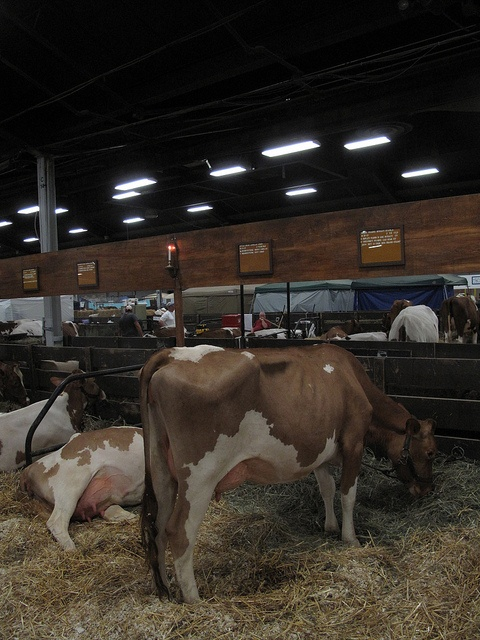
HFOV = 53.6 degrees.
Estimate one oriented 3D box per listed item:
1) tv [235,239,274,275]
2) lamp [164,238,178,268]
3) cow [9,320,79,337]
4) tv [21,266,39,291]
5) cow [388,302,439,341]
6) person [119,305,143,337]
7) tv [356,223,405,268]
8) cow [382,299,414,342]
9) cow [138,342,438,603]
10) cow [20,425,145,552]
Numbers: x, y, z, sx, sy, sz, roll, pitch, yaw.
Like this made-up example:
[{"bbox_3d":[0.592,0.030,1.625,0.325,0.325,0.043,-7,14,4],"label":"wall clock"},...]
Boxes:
[{"bbox_3d":[0.118,-0.467,3.514,0.269,0.242,0.029,-4,-4,36],"label":"tv"},{"bbox_3d":[-0.555,-0.551,3.879,0.089,0.218,0.226,-3,1,-8],"label":"lamp"},{"bbox_3d":[-4.262,0.189,10.284,1.053,0.548,0.305,-3,4,-8],"label":"cow"},{"bbox_3d":[-2.354,-0.472,5.323,0.271,0.270,0.027,7,9,36],"label":"tv"},{"bbox_3d":[2.665,0.115,7.269,0.516,0.737,0.739,1,-24,21],"label":"cow"},{"bbox_3d":[-2.395,-0.002,10.198,0.424,0.630,1.214,-3,1,-15],"label":"person"},{"bbox_3d":[0.904,-0.471,3.043,0.276,0.257,0.024,-2,-9,15],"label":"tv"},{"bbox_3d":[2.919,-0.053,8.994,0.652,0.845,0.309,2,4,-12],"label":"cow"},{"bbox_3d":[0.442,0.759,2.785,2.060,1.238,0.535,0,3,-31],"label":"cow"},{"bbox_3d":[-0.997,1.086,3.186,0.782,0.745,0.660,-3,1,-23],"label":"cow"}]
